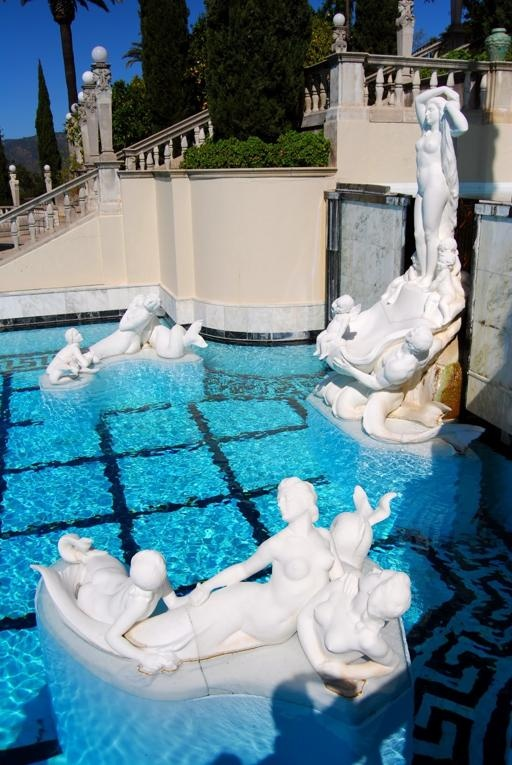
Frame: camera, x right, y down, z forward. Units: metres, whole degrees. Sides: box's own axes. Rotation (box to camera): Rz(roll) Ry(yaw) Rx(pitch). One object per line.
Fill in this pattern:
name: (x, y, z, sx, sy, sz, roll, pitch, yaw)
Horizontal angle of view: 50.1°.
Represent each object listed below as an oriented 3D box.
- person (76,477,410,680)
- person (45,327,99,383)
person: (-0.139, 0.903, 2.336, 1.214, 0.504, 0.839, -2, 37, 5)
person: (-2.777, -0.238, 8.199, 0.689, 0.786, 1.061, 3, 31, -7)
